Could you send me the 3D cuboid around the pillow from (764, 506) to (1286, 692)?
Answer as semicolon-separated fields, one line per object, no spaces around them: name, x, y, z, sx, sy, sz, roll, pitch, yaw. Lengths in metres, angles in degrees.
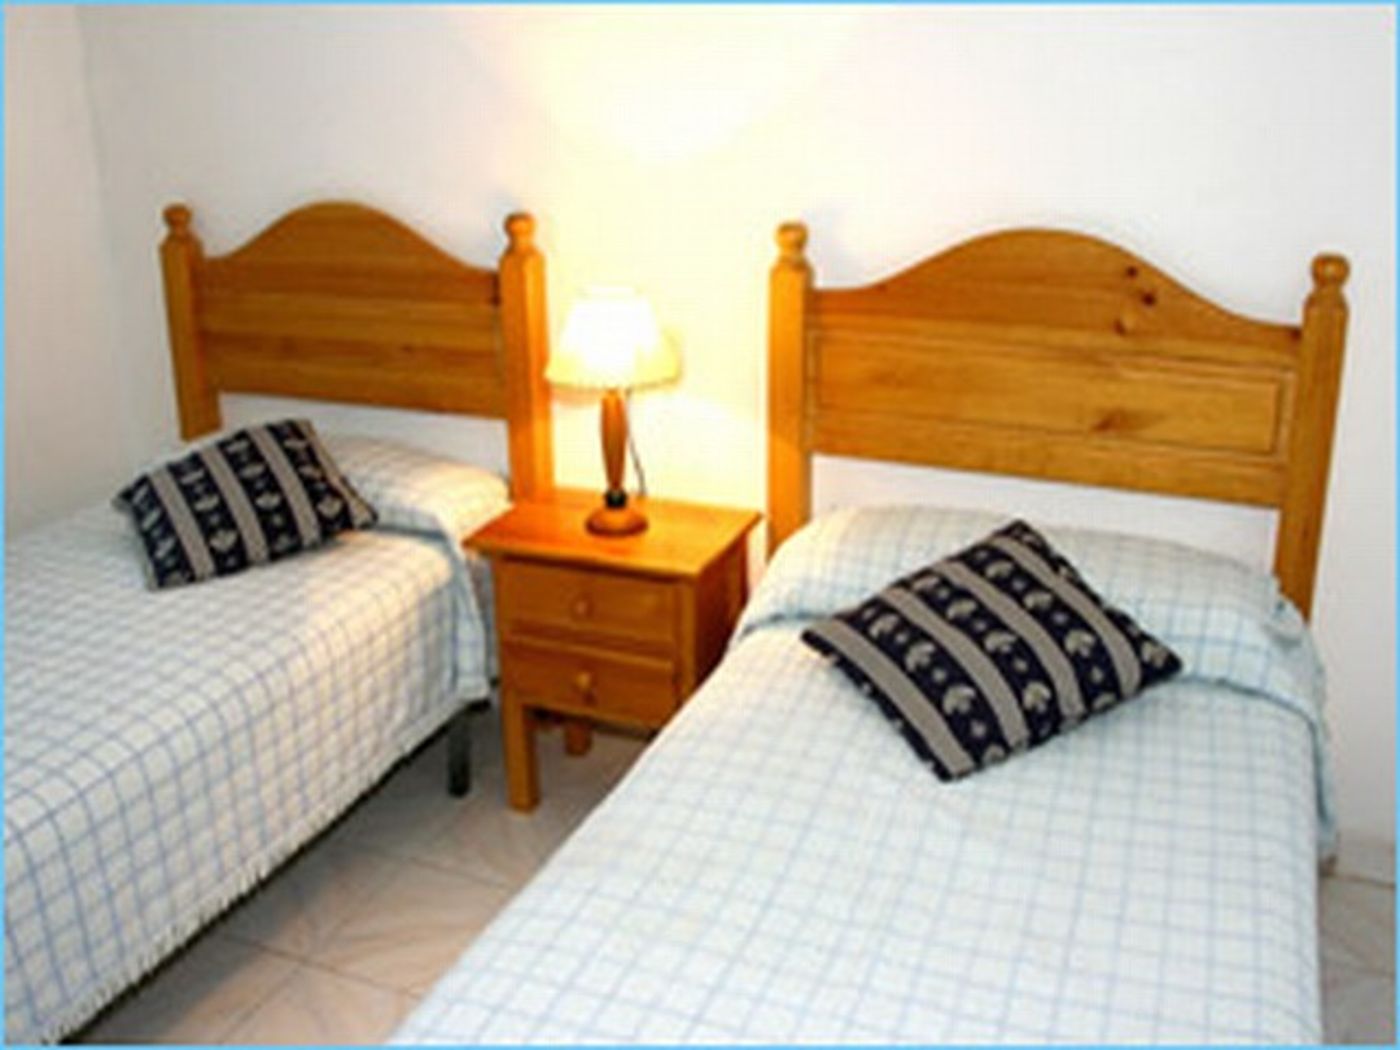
pillow;0.759;0.112;2.530;0.875;0.186;0.511;9;24;18

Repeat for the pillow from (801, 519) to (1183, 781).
pillow;0.637;0.280;2.358;0.614;0.158;0.660;-32;37;-18

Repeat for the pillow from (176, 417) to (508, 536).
pillow;-0.828;-0.122;3.146;0.503;0.140;0.317;15;18;-20

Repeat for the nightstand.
nightstand;-0.217;0.217;3.207;0.896;1.094;0.763;5;17;18
